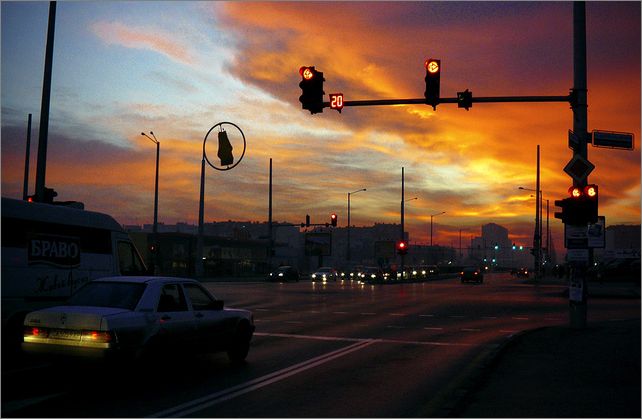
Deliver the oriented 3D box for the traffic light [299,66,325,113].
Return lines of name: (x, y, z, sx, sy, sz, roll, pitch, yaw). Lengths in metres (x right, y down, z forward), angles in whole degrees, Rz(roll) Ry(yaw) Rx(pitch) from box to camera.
traffic light: (-0.261, -3.788, 22.033, 0.762, 1.537, 0.672, 0, -7, -1)

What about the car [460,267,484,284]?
car: (14.744, 6.323, 67.015, 1.933, 1.384, 1.528, -1, -7, 3)

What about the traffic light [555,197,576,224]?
traffic light: (7.223, 0.003, 20.161, 0.853, 0.789, 0.453, -1, 0, 5)

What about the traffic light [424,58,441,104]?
traffic light: (3.457, -3.826, 21.333, 0.432, 1.534, 0.789, -1, -7, 6)

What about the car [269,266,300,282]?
car: (-3.335, 6.047, 64.271, 1.344, 0.891, 2.504, -4, -11, 21)
